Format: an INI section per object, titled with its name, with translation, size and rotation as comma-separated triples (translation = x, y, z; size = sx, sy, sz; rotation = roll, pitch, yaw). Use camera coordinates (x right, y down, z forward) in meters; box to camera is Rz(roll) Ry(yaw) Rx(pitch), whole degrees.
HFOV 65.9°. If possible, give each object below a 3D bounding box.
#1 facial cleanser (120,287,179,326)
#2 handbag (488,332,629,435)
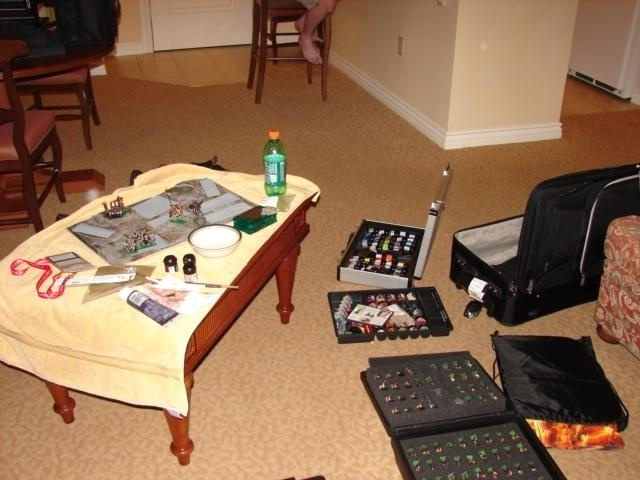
[facial cleanser]
translation = -0.532, 0.215, 1.565
size = 0.210, 0.054, 0.077
rotation = 28, 62, 23
[handbag]
translation = 0.968, 0.570, 2.039
size = 0.451, 0.101, 0.418
rotation = 3, 31, -1
